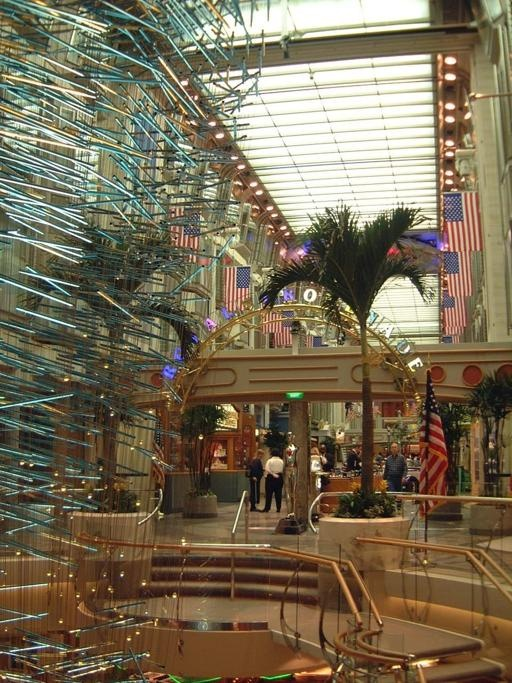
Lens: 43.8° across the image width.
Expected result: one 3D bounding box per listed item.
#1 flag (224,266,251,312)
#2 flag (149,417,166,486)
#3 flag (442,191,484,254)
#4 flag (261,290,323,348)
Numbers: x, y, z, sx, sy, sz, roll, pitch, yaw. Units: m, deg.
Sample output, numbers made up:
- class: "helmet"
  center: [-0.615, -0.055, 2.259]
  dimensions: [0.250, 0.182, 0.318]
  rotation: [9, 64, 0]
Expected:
- class: "flag"
  center: [-0.554, -1.509, 18.101]
  dimensions: [0.103, 1.709, 1.877]
  rotation: [-1, -2, 21]
- class: "flag"
  center: [-0.716, 0.848, 4.778]
  dimensions: [0.151, 0.613, 0.142]
  rotation: [-3, -28, -2]
- class: "flag"
  center: [5.297, -3.150, 16.484]
  dimensions: [0.850, 1.747, 0.980]
  rotation: [-3, -11, 24]
- class: "flag"
  center: [0.993, -0.628, 16.686]
  dimensions: [1.829, 0.685, 2.239]
  rotation: [-2, -2, 6]
